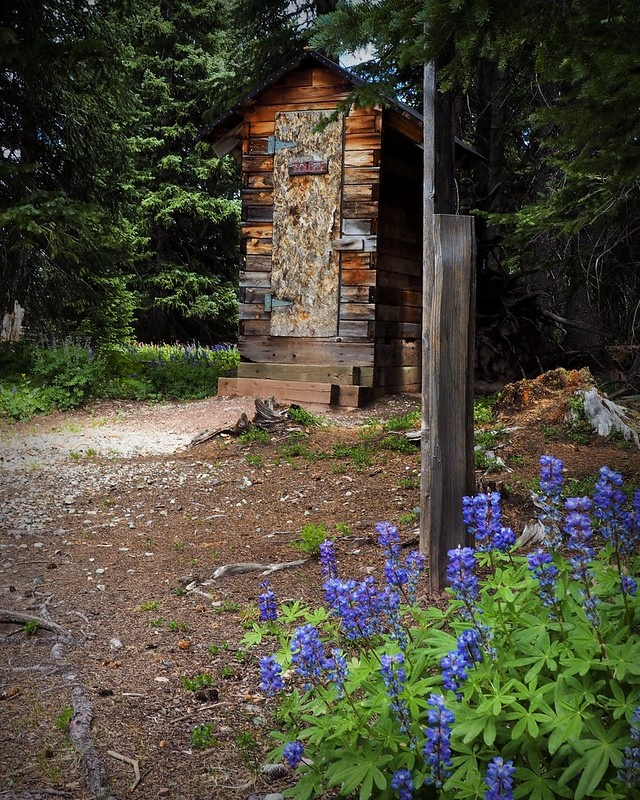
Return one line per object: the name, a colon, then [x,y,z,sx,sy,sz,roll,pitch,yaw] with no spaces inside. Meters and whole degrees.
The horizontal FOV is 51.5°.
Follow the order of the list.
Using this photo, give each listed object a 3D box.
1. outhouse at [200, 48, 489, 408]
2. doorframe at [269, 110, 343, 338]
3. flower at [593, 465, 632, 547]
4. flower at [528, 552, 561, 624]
outhouse: [0.317,-3.130,12.525,4.978,5.659,4.568,3,12,-1]
doorframe: [-0.237,-3.001,11.268,1.335,3.856,0.192,1,3,28]
flower: [0.904,0.340,2.036,0.107,0.306,0.307,1,3,25]
flower: [0.705,0.565,2.079,0.092,0.233,0.228,0,3,19]
